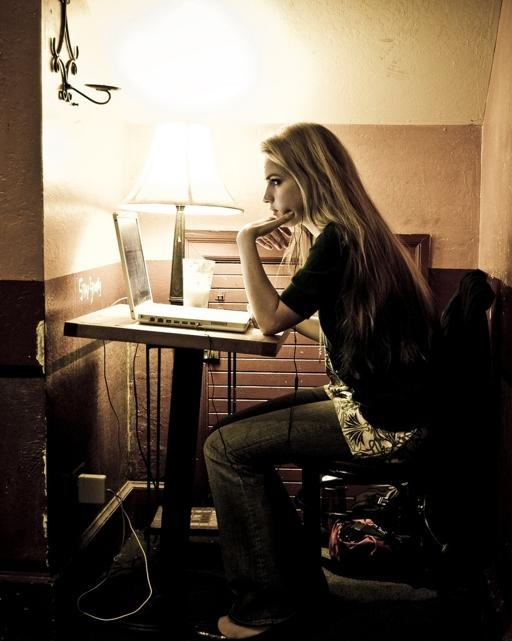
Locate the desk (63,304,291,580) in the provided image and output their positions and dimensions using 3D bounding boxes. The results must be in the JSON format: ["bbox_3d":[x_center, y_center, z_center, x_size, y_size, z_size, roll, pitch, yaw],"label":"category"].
[{"bbox_3d":[-0.191,0.310,1.632,0.494,0.528,0.471,5,-3,-20],"label":"desk"}]

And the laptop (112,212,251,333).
[{"bbox_3d":[-0.214,-0.133,1.747,0.385,0.285,0.358,4,4,-14],"label":"laptop"}]

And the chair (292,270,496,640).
[{"bbox_3d":[0.524,0.381,2.047,0.766,1.322,0.755,0,-2,8],"label":"chair"}]

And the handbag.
[{"bbox_3d":[0.367,0.562,1.633,0.305,0.121,0.245,-9,34,15],"label":"handbag"}]

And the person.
[{"bbox_3d":[0.160,0.113,1.538,0.582,1.238,0.332,-1,4,-5],"label":"person"}]
